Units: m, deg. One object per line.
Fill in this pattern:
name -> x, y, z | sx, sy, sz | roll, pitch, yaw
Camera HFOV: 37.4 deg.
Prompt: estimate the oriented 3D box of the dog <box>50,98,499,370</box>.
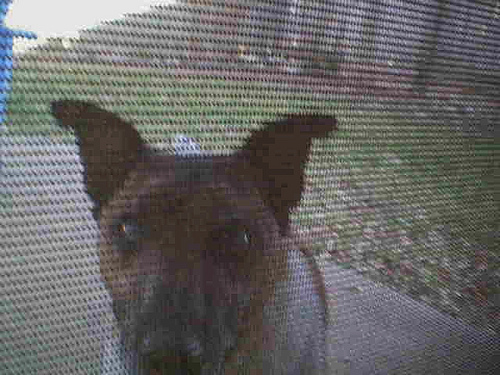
dog -> -0.006, 0.195, 2.439 | 0.854, 0.544, 0.850 | 0, -6, 1
